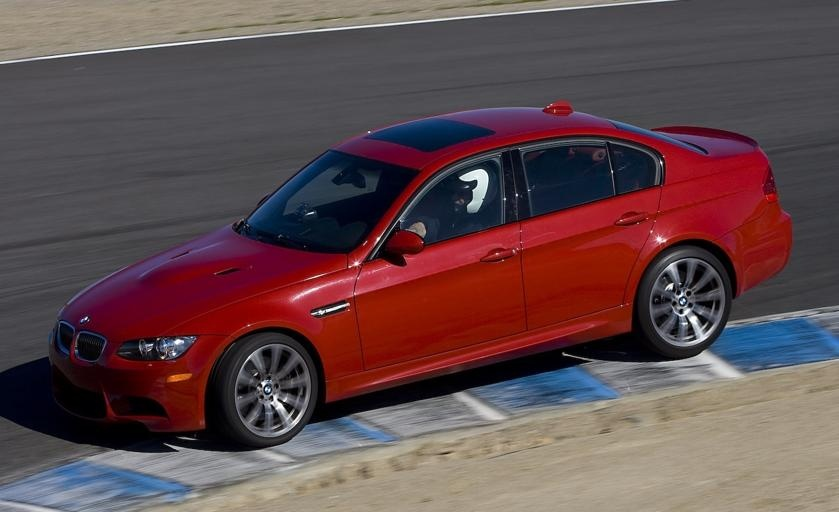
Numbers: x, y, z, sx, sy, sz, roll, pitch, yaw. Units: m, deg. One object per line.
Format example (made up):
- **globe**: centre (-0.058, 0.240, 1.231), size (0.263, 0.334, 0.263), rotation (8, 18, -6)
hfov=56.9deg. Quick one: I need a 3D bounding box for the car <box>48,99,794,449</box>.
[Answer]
- **car**: centre (0.158, -0.144, 7.829), size (8.376, 1.974, 2.691), rotation (-8, 19, -14)
